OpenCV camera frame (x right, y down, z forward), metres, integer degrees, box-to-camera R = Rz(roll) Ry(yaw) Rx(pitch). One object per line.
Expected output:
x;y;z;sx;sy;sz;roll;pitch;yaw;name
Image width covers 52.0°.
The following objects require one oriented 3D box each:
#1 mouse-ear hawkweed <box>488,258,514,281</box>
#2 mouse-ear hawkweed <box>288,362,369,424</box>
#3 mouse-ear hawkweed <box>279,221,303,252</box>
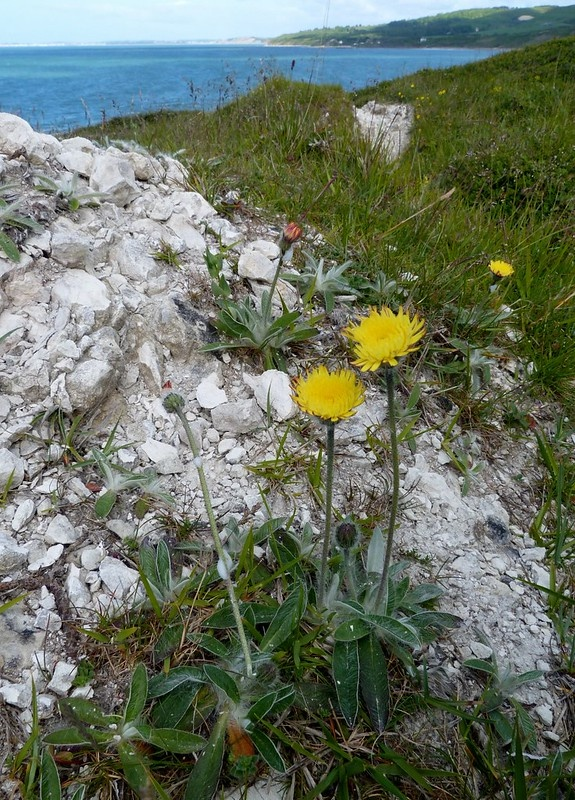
0.935;-0.572;2.603;0.081;0.085;0.193;5;33;16;mouse-ear hawkweed
0.089;-0.020;1.308;0.146;0.104;0.237;-3;32;4;mouse-ear hawkweed
0.007;-0.563;2.070;0.073;0.115;0.096;-6;31;-2;mouse-ear hawkweed
